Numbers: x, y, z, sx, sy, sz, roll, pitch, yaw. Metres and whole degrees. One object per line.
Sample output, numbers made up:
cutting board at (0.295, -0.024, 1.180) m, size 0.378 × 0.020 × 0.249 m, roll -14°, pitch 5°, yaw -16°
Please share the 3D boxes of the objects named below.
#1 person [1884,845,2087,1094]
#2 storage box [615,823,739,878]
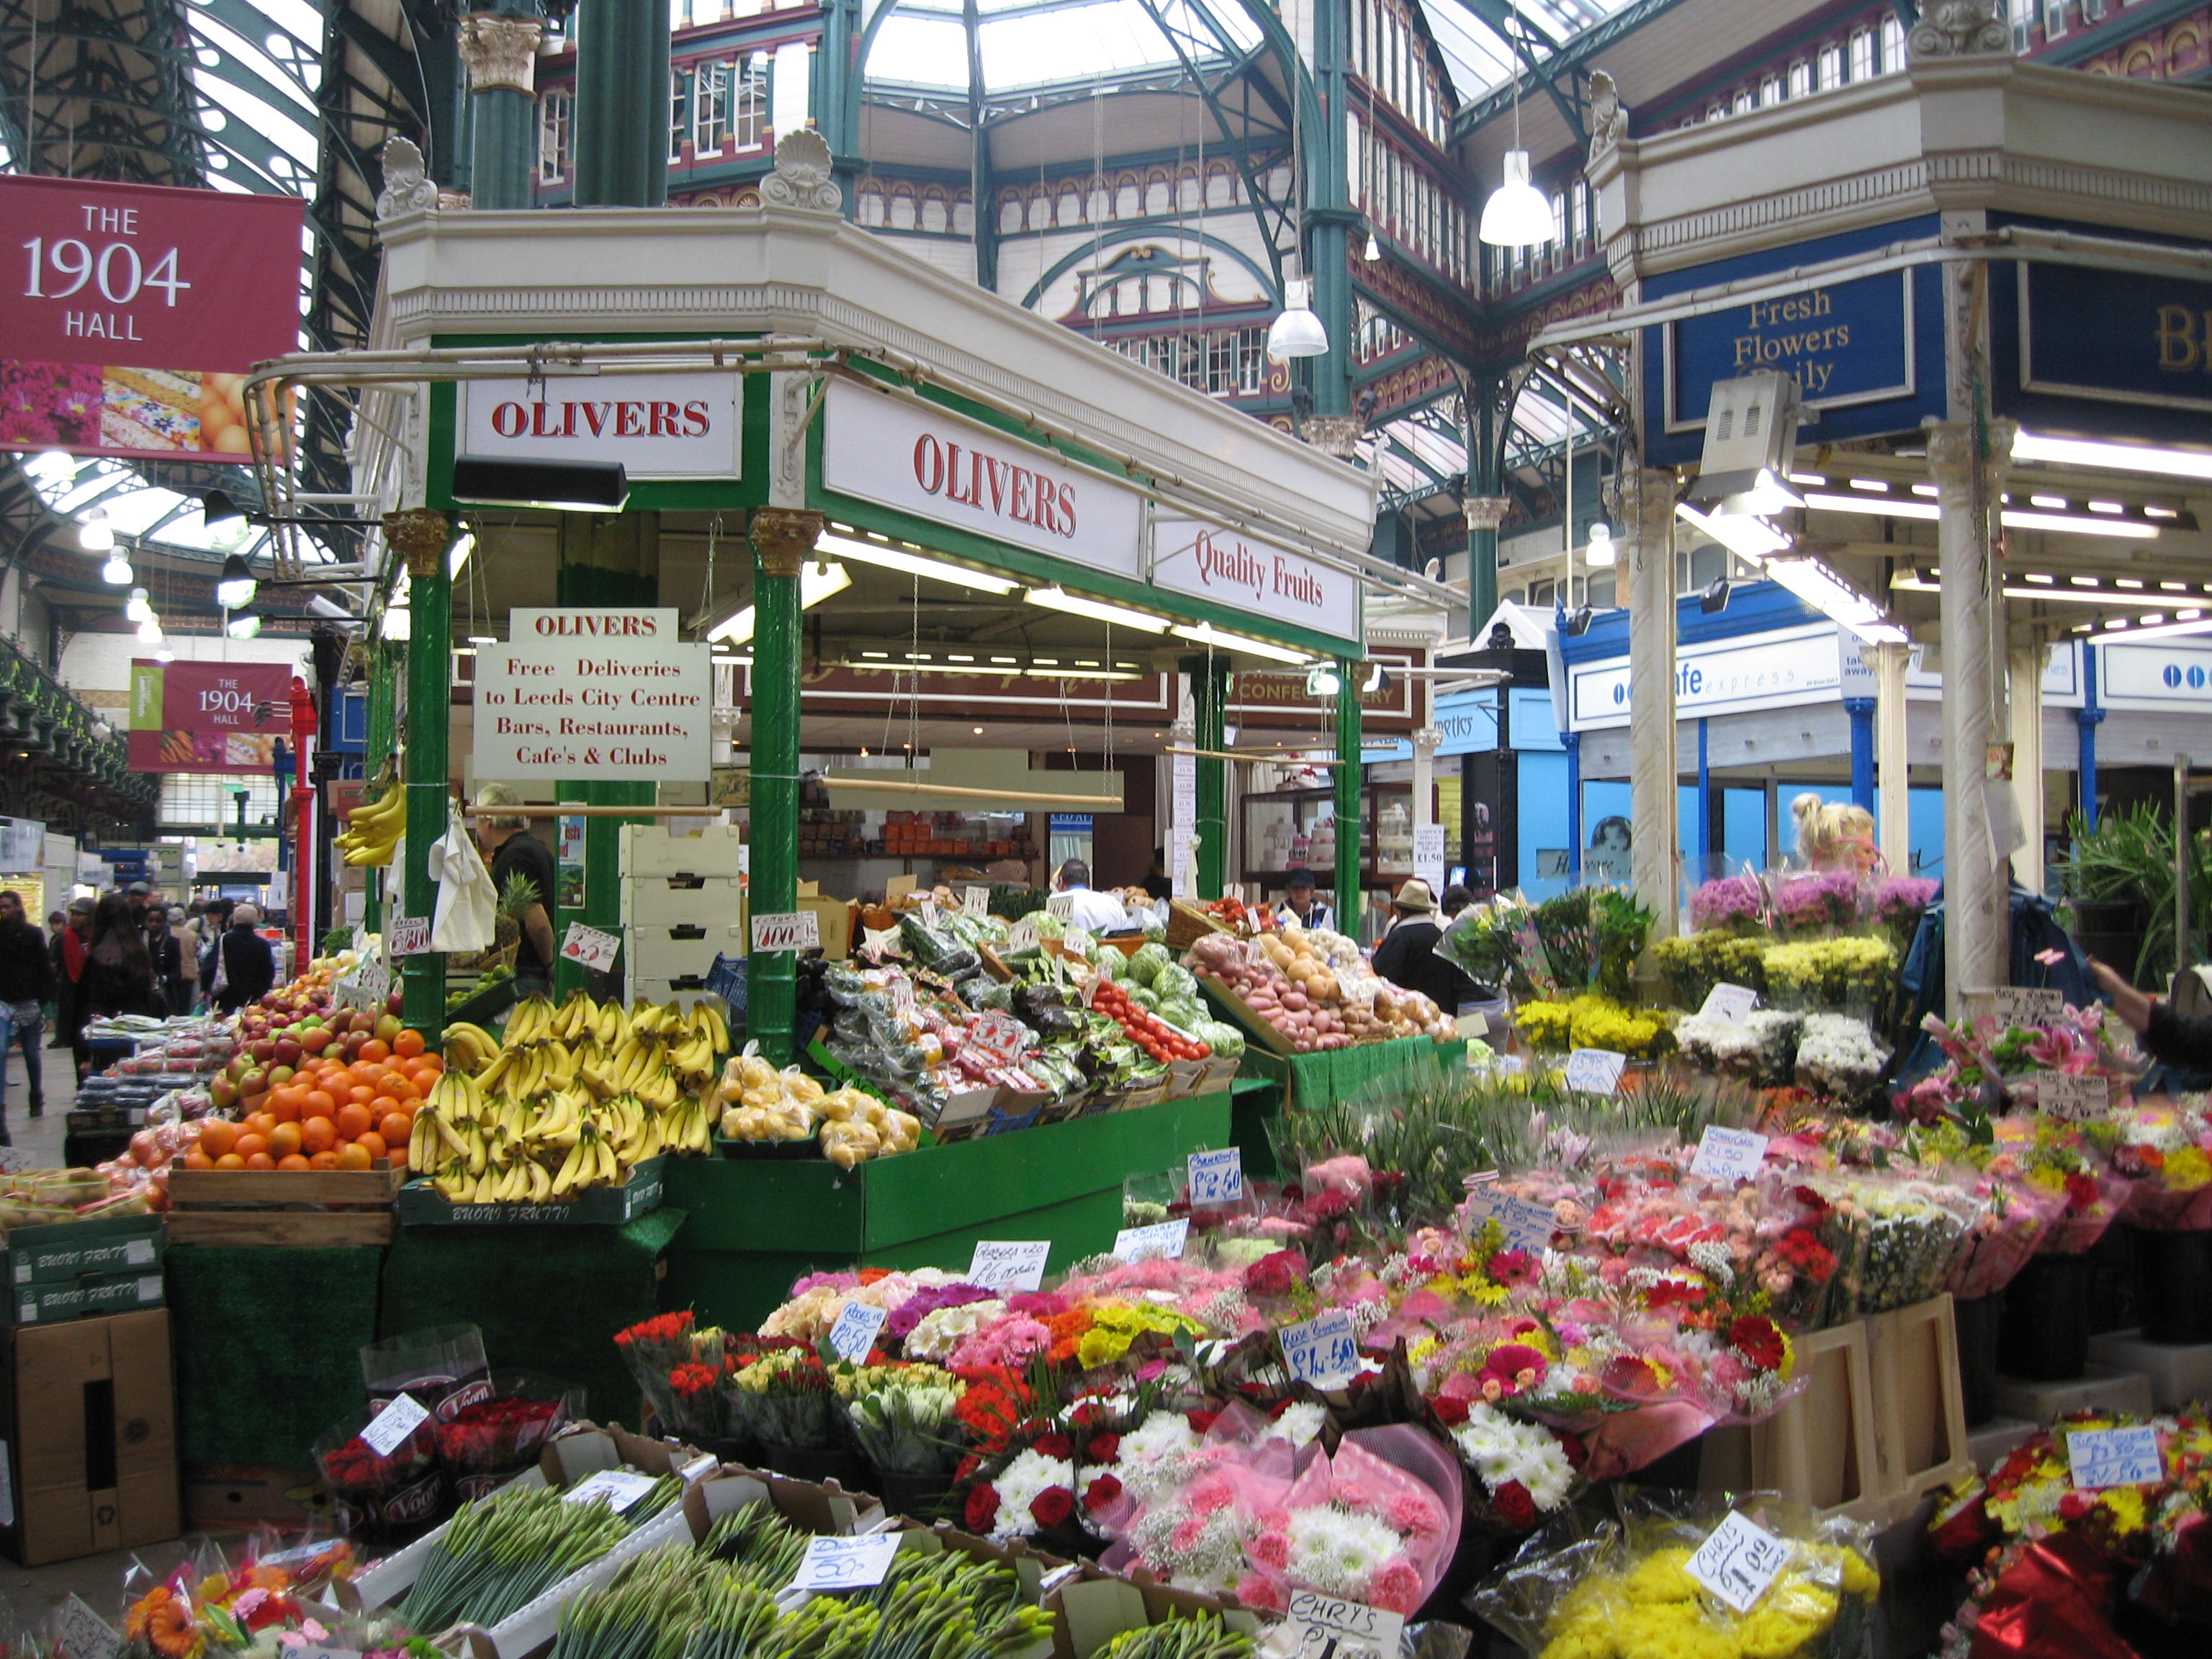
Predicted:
person at (3.232, 0.533, 7.797) m, size 0.959 × 1.136 × 0.616 m, roll 0°, pitch 2°, yaw 34°
storage box at (-1.644, 0.090, 8.071) m, size 0.288 × 0.165 × 0.218 m, roll 1°, pitch -4°, yaw -17°
